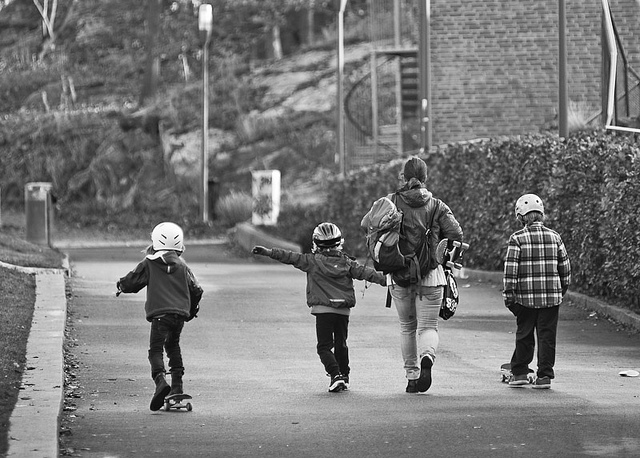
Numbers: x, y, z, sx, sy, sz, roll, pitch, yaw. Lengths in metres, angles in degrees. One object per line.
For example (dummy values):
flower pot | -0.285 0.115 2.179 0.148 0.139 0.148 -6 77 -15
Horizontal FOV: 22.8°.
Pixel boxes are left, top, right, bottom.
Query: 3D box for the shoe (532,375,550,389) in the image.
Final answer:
shoe | 2.914 2.008 21.035 0.252 0.174 0.102 3 5 45

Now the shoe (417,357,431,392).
shoe | 1.372 1.892 20.648 0.168 0.394 0.179 4 -1 4

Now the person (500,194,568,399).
person | 2.864 0.836 21.165 0.826 2.520 0.596 0 4 8

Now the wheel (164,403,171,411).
wheel | -1.935 2.228 20.116 0.035 0.107 0.113 -6 13 -23

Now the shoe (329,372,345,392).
shoe | 0.222 1.997 20.843 0.126 0.144 0.319 -23 -13 -15

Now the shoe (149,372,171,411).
shoe | -2.004 2.025 19.899 0.264 0.505 0.389 -1 4 -6

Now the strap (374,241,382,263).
strap | 0.746 0.296 20.794 0.058 0.195 0.152 4 -3 0

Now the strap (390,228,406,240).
strap | 1.010 0.072 20.824 0.077 0.052 0.318 22 -5 46

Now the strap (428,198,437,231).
strap | 1.481 -0.161 20.924 0.069 0.462 0.066 11 -11 -22

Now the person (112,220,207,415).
person | -1.964 1.133 19.937 0.963 2.351 0.553 -1 4 -7

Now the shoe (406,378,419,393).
shoe | 1.208 2.039 20.849 0.180 0.175 0.101 0 4 15

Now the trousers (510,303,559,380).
trousers | 2.850 1.475 21.140 0.625 0.957 0.374 0 4 5

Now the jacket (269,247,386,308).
jacket | 0.118 0.650 21.067 1.503 0.778 0.371 -1 4 -2

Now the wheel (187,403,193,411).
wheel | -1.649 2.232 20.140 0.082 0.074 0.084 1 4 0

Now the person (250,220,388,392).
person | 0.131 1.030 21.043 1.464 2.152 0.589 -1 4 2

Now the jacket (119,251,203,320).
jacket | -2.065 0.743 20.208 1.108 1.252 0.881 0 -2 -25

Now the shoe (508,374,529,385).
shoe | 2.648 1.982 21.182 0.256 0.147 0.157 0 4 10

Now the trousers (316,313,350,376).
trousers | 0.166 1.507 21.015 0.423 0.799 0.353 -1 4 -1

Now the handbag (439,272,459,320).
handbag | 1.708 0.938 21.196 0.381 0.458 0.511 2 -1 10
